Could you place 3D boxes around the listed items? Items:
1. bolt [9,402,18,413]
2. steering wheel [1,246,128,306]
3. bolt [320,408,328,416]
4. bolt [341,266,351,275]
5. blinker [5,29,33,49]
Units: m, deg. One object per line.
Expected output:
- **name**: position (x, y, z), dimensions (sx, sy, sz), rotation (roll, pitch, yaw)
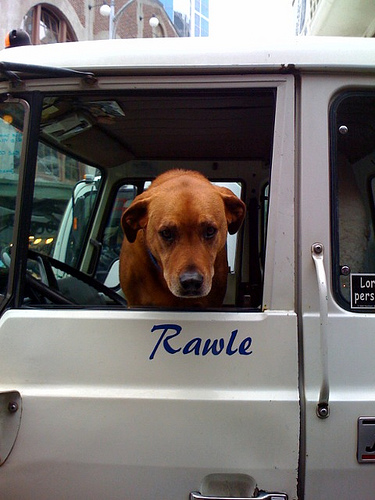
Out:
- **bolt**: position (-0.637, 0.564, 1.650), dimensions (0.030, 0.028, 0.004), rotation (8, -5, -21)
- **steering wheel**: position (-0.727, 0.162, 2.522), dimensions (0.428, 0.109, 0.396), rotation (27, -15, 8)
- **bolt**: position (0.480, 0.558, 1.583), dimensions (0.022, 0.024, 0.005), rotation (13, 6, -5)
- **bolt**: position (0.606, 0.077, 1.706), dimensions (0.041, 0.033, 0.016), rotation (8, -5, -20)
- **blinker**: position (-0.751, -0.935, 2.040), dimensions (0.120, 0.083, 0.079), rotation (-12, 33, -12)
